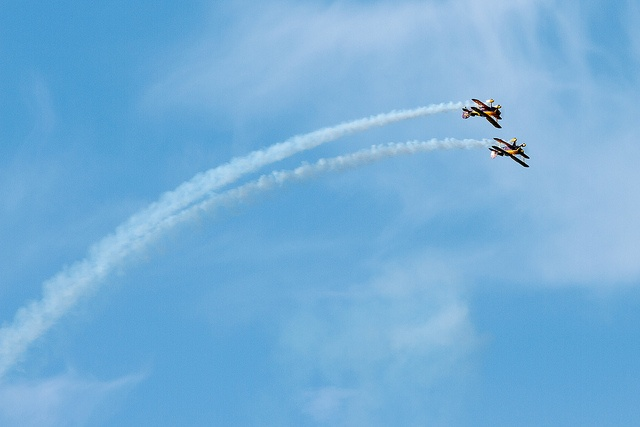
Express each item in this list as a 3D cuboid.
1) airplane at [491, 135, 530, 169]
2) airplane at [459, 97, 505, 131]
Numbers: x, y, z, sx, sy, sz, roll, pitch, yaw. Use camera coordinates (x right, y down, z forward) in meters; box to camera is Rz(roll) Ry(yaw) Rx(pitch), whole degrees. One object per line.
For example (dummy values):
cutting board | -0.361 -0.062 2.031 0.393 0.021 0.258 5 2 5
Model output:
airplane | 31.205 -9.519 229.604 7.358 2.652 5.581 -11 -22 -37
airplane | 26.751 -16.196 229.011 6.787 2.408 5.694 24 -4 -28
